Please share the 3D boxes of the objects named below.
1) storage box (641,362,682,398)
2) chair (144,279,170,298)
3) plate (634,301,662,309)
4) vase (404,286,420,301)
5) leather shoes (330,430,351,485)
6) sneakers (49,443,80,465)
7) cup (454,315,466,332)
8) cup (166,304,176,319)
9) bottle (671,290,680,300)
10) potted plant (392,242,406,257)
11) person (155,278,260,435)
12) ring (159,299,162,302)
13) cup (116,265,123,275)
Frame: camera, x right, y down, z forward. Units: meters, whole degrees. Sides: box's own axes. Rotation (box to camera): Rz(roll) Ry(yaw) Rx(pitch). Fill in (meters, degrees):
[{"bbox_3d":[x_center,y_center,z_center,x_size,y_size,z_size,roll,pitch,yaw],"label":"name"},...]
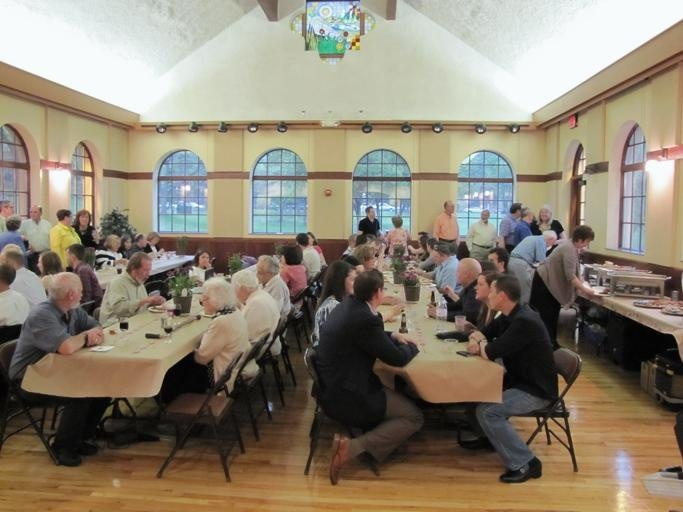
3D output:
[{"bbox_3d":[3.412,1.321,5.470,0.288,0.229,0.501,1,2,4],"label":"storage box"},{"bbox_3d":[-2.353,0.401,6.543,0.262,0.409,0.289,-2,0,-24],"label":"chair"},{"bbox_3d":[3.523,0.550,5.901,0.277,0.033,0.449,4,5,31],"label":"plate"},{"bbox_3d":[0.807,0.414,5.786,0.170,0.131,0.171,1,-1,-45],"label":"vase"},{"bbox_3d":[-0.017,1.616,4.185,0.161,0.379,0.256,1,5,-1],"label":"leather shoes"},{"bbox_3d":[-2.309,1.658,4.266,0.249,0.100,0.134,13,12,25],"label":"sneakers"},{"bbox_3d":[1.094,0.622,4.740,0.121,0.122,0.105,-1,-3,44],"label":"cup"},{"bbox_3d":[-1.565,0.505,4.686,0.104,0.112,0.103,-1,-10,0],"label":"cup"},{"bbox_3d":[4.014,0.470,6.169,0.108,0.120,0.106,-2,7,-18],"label":"bottle"},{"bbox_3d":[0.957,-0.092,8.431,0.274,0.281,0.266,-2,6,3],"label":"potted plant"},{"bbox_3d":[-1.255,0.855,4.682,0.862,1.319,0.599,6,15,3],"label":"person"},{"bbox_3d":[-1.927,0.471,5.451,0.021,0.029,0.007,-4,8,-39],"label":"ring"},{"bbox_3d":[-3.338,0.205,7.679,0.113,0.082,0.111,10,-24,5],"label":"cup"}]
